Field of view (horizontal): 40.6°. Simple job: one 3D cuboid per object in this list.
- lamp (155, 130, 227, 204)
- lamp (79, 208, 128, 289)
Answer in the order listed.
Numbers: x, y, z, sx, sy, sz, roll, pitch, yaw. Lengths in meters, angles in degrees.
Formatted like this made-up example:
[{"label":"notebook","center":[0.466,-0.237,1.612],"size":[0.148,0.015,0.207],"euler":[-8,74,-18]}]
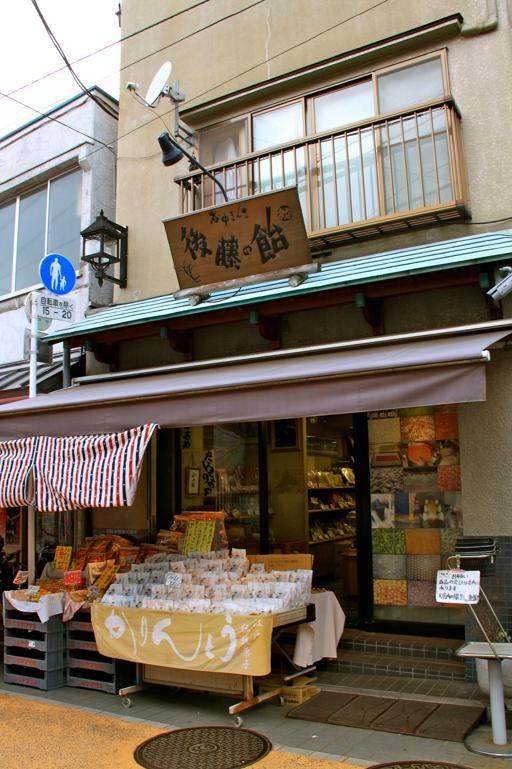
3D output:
[{"label":"lamp","center":[-0.789,-2.714,8.349],"size":[0.541,0.697,1.072],"euler":[-4,-4,9]},{"label":"lamp","center":[-2.090,-1.791,9.414],"size":[0.434,1.021,0.798],"euler":[-5,-4,18]}]
